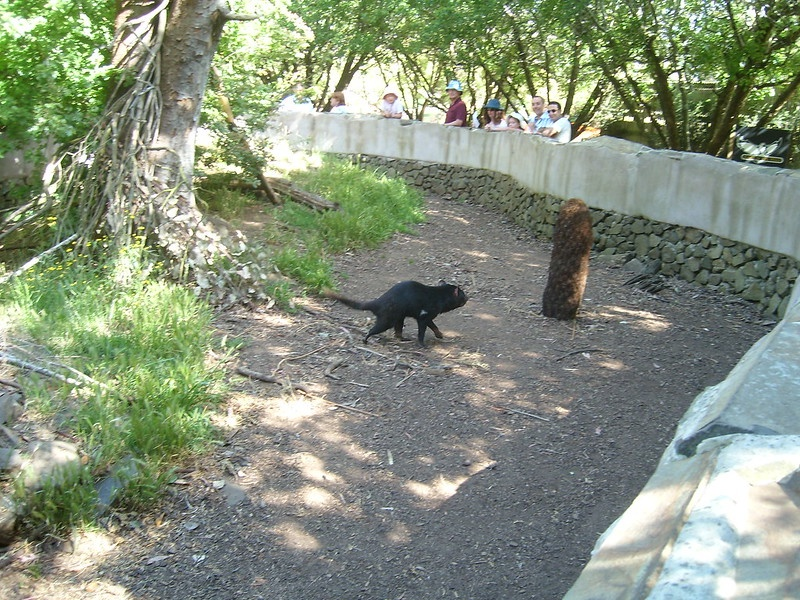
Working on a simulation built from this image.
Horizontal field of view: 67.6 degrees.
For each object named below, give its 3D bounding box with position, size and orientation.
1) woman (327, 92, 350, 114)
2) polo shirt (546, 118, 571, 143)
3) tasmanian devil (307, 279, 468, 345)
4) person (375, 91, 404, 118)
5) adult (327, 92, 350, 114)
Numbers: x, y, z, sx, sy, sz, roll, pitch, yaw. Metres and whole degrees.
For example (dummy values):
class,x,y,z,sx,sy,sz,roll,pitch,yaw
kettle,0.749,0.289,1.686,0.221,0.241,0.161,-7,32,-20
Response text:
class,x,y,z,sx,sy,sz,roll,pitch,yaw
woman,-1.774,-5.731,17.351,0.442,0.738,1.246,6,10,-11
polo shirt,3.318,-3.540,12.363,0.442,0.541,0.585,10,12,9
tasmanian devil,-0.044,0.134,6.732,1.823,0.536,0.331,-1,7,-29
person,-0.244,-5.485,16.950,0.584,0.857,1.585,7,10,-5
adult,-1.781,-5.724,17.336,0.435,0.728,1.224,6,10,-13
